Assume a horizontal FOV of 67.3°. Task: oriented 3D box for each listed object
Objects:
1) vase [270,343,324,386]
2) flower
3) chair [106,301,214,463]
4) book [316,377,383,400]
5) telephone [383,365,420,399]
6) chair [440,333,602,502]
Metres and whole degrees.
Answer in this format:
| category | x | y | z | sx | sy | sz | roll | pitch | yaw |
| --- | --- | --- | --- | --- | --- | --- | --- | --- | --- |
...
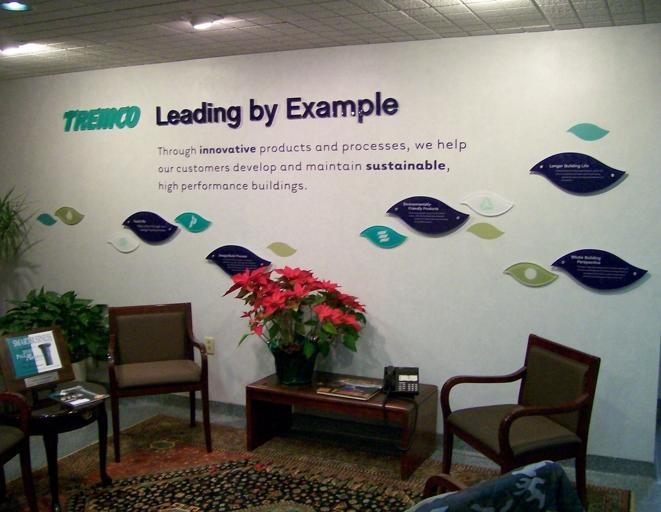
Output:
| category | x | y | z | sx | sy | sz | roll | pitch | yaw |
| --- | --- | --- | --- | --- | --- | --- | --- | --- | --- |
| vase | -0.296 | 0.890 | 4.090 | 0.453 | 0.339 | 0.447 | 1 | -12 | -1 |
| flower | -0.327 | 0.445 | 4.056 | 0.987 | 0.640 | 0.820 | 3 | 6 | 26 |
| chair | -1.453 | 1.010 | 4.100 | 0.742 | 1.125 | 0.697 | 0 | 0 | -31 |
| book | 0.156 | 1.025 | 3.854 | 0.480 | 0.023 | 0.414 | 2 | 7 | 17 |
| telephone | 0.516 | 0.921 | 3.651 | 0.214 | 0.222 | 0.152 | 2 | -7 | 6 |
| chair | 1.201 | 1.103 | 3.229 | 0.840 | 1.008 | 0.903 | -1 | 2 | 5 |
